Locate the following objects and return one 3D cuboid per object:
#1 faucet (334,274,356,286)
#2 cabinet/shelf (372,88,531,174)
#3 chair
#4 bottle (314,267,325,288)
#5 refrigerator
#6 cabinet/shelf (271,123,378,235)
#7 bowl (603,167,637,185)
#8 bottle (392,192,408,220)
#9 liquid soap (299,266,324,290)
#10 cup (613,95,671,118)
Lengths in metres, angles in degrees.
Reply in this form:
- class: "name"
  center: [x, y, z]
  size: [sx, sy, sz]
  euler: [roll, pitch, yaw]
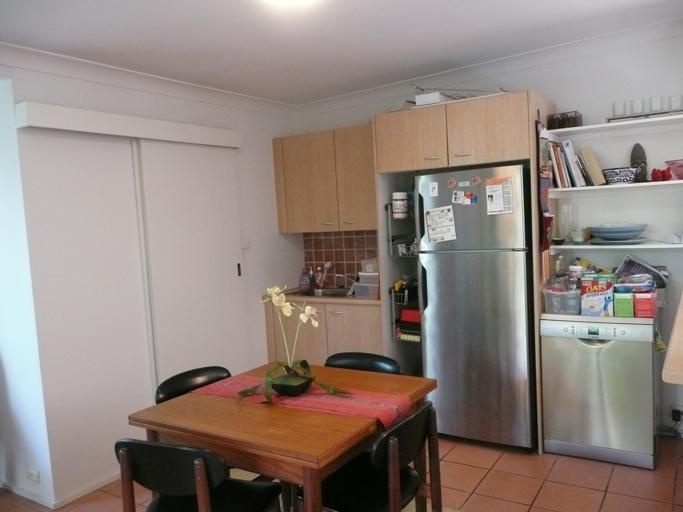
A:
- class: "faucet"
  center: [0.034, 0.232, 5.326]
  size: [0.229, 0.152, 0.126]
  euler: [3, 2, 40]
- class: "cabinet/shelf"
  center: [0.927, -0.979, 4.177]
  size: [1.256, 0.531, 0.394]
  euler: [-1, 5, 26]
- class: "chair"
  center: [-0.282, 1.202, 3.024]
  size: [1.273, 0.802, 1.233]
  euler: [3, 12, 36]
- class: "bottle"
  center: [-0.242, 0.217, 5.492]
  size: [0.122, 0.208, 0.123]
  euler: [-4, 10, 1]
- class: "refrigerator"
  center: [1.029, 0.390, 3.985]
  size: [0.892, 2.149, 0.300]
  euler: [0, 12, 25]
- class: "cabinet/shelf"
  center: [-0.159, -0.775, 5.218]
  size: [1.191, 1.011, 0.418]
  euler: [-10, 15, -26]
- class: "bowl"
  center: [2.092, -0.585, 3.783]
  size: [0.160, 0.071, 0.158]
  euler: [0, 6, 0]
- class: "bottle"
  center: [0.517, -0.455, 4.459]
  size: [0.147, 0.224, 0.088]
  euler: [-3, 11, 7]
- class: "liquid soap"
  center: [-0.329, 0.242, 5.501]
  size: [0.234, 0.222, 0.128]
  euler: [3, 6, 27]
- class: "cup"
  center: [2.365, -1.188, 3.942]
  size: [0.419, 0.116, 0.071]
  euler: [3, 12, 34]
